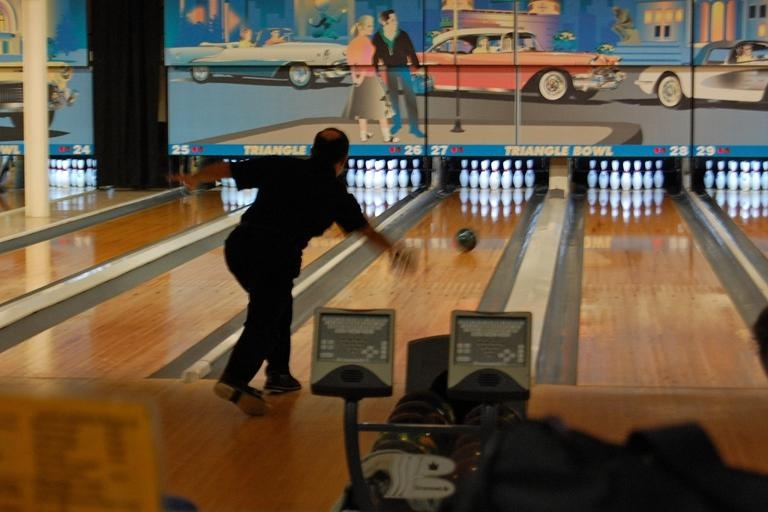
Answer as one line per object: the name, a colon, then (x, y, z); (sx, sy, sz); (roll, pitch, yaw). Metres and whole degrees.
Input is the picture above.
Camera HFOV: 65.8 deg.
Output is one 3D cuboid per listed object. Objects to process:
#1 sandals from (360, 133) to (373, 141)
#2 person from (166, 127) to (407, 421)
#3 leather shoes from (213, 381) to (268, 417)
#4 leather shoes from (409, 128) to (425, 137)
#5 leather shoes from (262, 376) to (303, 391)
sandals: (-0.192, -1.263, 6.332); (0.140, 0.086, 0.058); (-11, 35, -6)
person: (-0.421, 0.067, 2.392); (0.686, 1.132, 0.457); (-3, 12, -15)
leather shoes: (-0.563, 0.561, 2.346); (0.182, 0.150, 0.101); (-9, 15, -39)
leather shoes: (0.353, -1.296, 6.276); (0.166, 0.109, 0.070); (8, 51, 3)
leather shoes: (-0.446, 0.554, 2.623); (0.176, 0.065, 0.063); (0, 1, -6)
